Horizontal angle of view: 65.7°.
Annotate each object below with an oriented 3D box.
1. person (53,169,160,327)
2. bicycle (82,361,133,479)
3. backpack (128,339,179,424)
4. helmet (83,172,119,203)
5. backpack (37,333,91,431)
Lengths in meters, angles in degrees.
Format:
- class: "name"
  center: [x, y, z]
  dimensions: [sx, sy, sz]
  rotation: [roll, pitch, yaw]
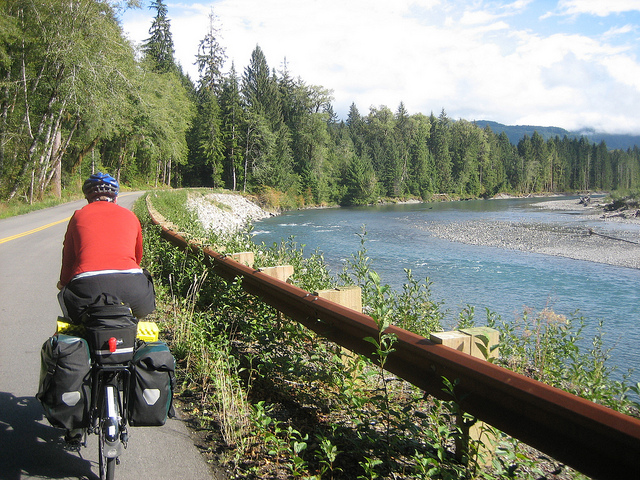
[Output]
- class: "person"
  center: [-2.323, 0.079, 5.299]
  dimensions: [0.880, 1.571, 1.105]
  rotation: [-4, 7, -31]
- class: "bicycle"
  center: [-2.126, 1.752, 4.936]
  dimensions: [0.520, 1.131, 0.345]
  rotation: [1, 6, 11]
- class: "backpack"
  center: [-1.781, 1.459, 5.253]
  dimensions: [0.439, 0.798, 0.820]
  rotation: [6, 0, -18]
- class: "helmet"
  center: [-2.546, -0.656, 5.782]
  dimensions: [0.285, 0.377, 0.374]
  rotation: [8, 16, -15]
- class: "backpack"
  center: [-2.520, 1.386, 4.845]
  dimensions: [0.550, 0.897, 0.326]
  rotation: [2, 7, 15]
